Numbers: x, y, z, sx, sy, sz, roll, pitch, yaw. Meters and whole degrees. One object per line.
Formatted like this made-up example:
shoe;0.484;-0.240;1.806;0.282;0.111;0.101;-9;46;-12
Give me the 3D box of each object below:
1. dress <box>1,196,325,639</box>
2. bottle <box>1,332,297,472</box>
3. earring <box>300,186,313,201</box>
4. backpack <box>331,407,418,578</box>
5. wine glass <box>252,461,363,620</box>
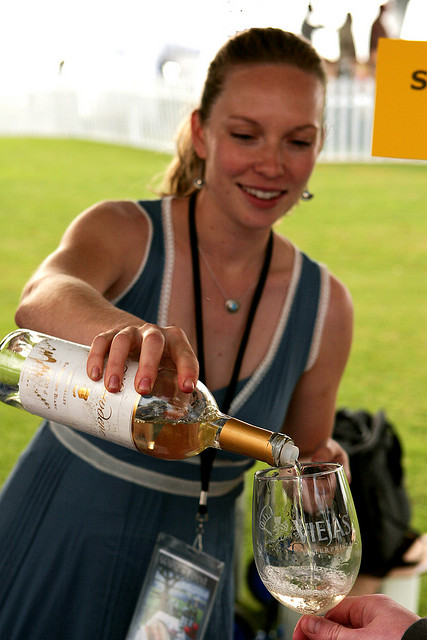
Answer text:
dress;-0.126;0.324;1.199;0.500;1.078;0.480;-5;8;-25
bottle;-0.096;0.121;0.766;0.414;0.169;0.117;4;18;9
earring;0.234;-0.306;1.434;0.028;0.035;0.013;-1;-27;5
backpack;0.603;0.628;2.138;0.238;0.631;0.381;-13;2;8
wine glass;0.124;0.288;0.749;0.131;0.228;0.121;-6;20;-22
